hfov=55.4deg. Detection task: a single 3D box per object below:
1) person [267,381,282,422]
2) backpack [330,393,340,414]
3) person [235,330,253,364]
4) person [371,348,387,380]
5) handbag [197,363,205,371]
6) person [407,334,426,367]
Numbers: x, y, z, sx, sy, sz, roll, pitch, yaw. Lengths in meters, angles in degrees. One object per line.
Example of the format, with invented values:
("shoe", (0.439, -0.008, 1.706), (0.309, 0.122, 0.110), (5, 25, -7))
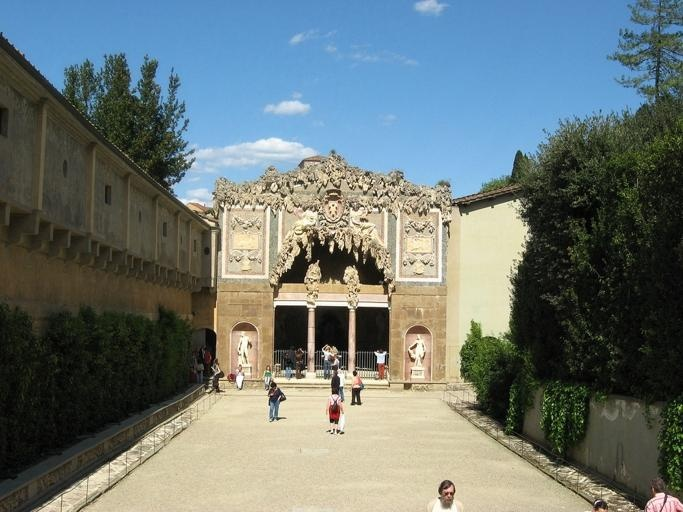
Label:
("person", (-2.700, 5.820, 26.050), (0.503, 1.560, 2.205), (2, -11, -7))
("backpack", (-0.252, 5.181, 22.834), (0.380, 0.630, 0.515), (2, -10, -4))
("person", (-5.543, 5.244, 36.591), (0.831, 1.911, 0.586), (2, -9, -7))
("person", (2.268, 6.429, 38.329), (0.623, 1.730, 1.737), (0, -10, 3))
("handbag", (-7.933, 6.234, 36.354), (0.359, 0.441, 0.423), (0, -7, 1))
("person", (4.251, 5.343, 36.869), (0.945, 1.810, 0.488), (0, -9, 6))
